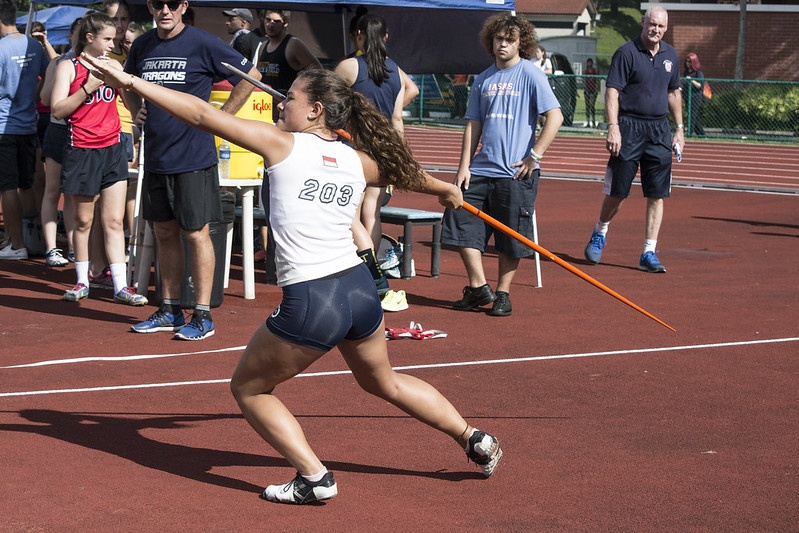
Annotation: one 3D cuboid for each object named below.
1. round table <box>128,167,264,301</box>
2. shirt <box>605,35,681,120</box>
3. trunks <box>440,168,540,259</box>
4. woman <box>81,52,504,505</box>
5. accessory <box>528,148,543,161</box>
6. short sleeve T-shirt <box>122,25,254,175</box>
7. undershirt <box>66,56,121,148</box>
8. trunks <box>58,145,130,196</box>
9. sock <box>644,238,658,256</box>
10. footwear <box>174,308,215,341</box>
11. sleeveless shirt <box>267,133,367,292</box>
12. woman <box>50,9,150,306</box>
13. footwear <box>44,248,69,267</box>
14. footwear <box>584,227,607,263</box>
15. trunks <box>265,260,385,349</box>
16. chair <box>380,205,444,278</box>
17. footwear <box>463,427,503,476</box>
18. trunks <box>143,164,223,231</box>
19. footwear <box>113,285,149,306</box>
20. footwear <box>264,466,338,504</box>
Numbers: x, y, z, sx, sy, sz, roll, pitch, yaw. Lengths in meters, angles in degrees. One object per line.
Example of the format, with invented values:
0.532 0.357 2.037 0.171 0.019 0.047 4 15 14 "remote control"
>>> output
-2.190 -0.407 8.703 1.596 1.575 1.392 -2 7 -19 "round table"
3.007 -2.307 9.996 1.055 0.910 0.500 -3 16 -18 "shirt"
0.924 -0.486 8.157 0.925 0.522 1.006 -2 53 17 "trunks"
-0.404 0.194 4.520 1.611 2.247 0.659 -4 15 -19 "woman"
1.289 -1.057 7.805 0.117 0.077 0.118 30 7 24 "accessory"
-1.881 -1.449 7.109 1.334 1.228 0.539 5 16 21 "short sleeve T-shirt"
-3.110 -1.659 8.334 0.553 0.816 0.455 -3 24 -32 "undershirt"
-3.103 -1.025 8.242 0.715 0.474 0.396 -13 24 -41 "trunks"
3.096 -0.239 10.049 0.197 0.267 0.198 2 -1 22 "sock"
-1.772 0.514 7.061 0.182 0.218 0.400 6 8 31 "footwear"
-0.434 -0.302 4.363 0.522 0.796 0.311 0 14 -5 "sleeveless shirt"
-2.882 -1.104 8.185 1.088 2.880 0.826 2 2 13 "woman"
-4.029 -0.098 9.567 0.159 0.166 0.364 -3 3 -42 "footwear"
2.539 -0.269 10.422 0.192 0.240 0.535 26 41 -6 "footwear"
-0.405 0.191 4.508 0.750 0.414 0.413 -9 21 -40 "trunks"
0.148 -0.275 9.855 0.489 0.591 0.981 -4 10 -28 "chair"
0.521 1.136 4.906 0.160 0.197 0.444 -39 -11 -14 "footwear"
-1.942 -0.612 7.191 0.706 0.521 0.422 7 8 25 "trunks"
-2.644 0.295 8.000 0.355 0.155 0.158 2 9 27 "footwear"
-0.534 1.231 4.586 0.457 0.175 0.170 -1 -6 12 "footwear"
